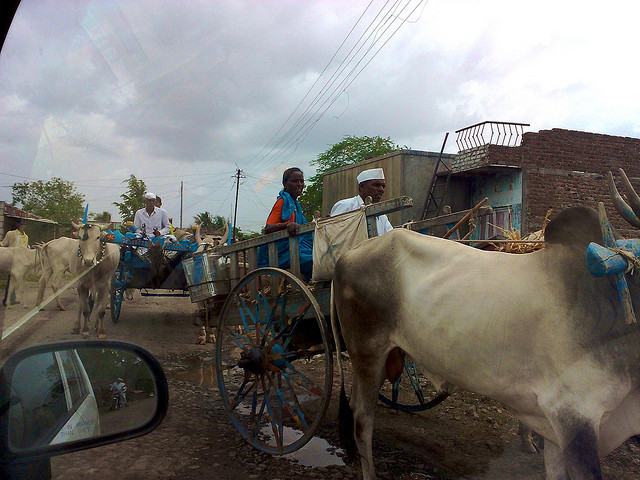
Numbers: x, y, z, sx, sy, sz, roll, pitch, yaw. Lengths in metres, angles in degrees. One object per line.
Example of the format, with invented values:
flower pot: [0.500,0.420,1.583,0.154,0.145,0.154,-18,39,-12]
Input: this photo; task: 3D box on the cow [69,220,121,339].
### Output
cow: [-2.047,0.406,4.279,0.381,0.978,1.450,2,-7,-25]

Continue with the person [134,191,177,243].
person: [-2.827,-0.289,7.974,0.809,0.951,0.664,-1,-12,-18]

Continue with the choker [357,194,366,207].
choker: [0.430,-0.412,4.968,0.022,0.100,0.093,-16,-25,15]

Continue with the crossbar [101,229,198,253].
crossbar: [-2.760,0.077,8.134,1.070,0.239,0.646,9,-9,-3]

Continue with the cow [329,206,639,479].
cow: [0.953,0.811,3.083,1.785,1.820,0.451,4,1,40]

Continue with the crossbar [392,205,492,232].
crossbar: [1.146,-0.191,4.289,0.692,0.221,0.454,4,1,44]
